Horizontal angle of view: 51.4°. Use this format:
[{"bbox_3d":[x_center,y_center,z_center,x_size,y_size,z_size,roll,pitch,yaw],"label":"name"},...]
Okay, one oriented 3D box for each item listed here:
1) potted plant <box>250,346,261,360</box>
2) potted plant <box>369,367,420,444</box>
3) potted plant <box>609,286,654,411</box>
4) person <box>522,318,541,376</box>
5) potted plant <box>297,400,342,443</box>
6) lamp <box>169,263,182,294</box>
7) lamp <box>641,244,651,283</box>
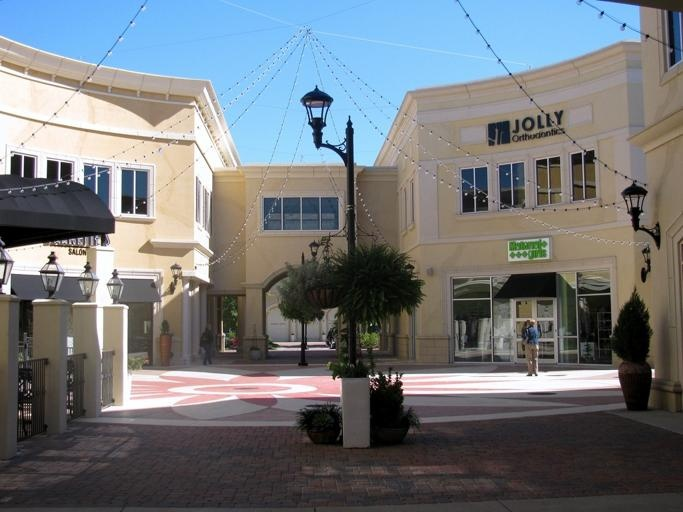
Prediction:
[{"bbox_3d":[-4.104,4.643,33.825,0.306,0.629,0.646,-6,-9,43],"label":"potted plant"},{"bbox_3d":[0.918,2.943,13.856,1.253,1.781,1.143,-2,-15,5],"label":"potted plant"},{"bbox_3d":[6.780,2.164,16.524,0.844,2.500,0.859,5,-10,-17],"label":"potted plant"},{"bbox_3d":[6.577,3.215,24.719,0.495,1.924,0.848,-2,-6,14],"label":"person"},{"bbox_3d":[-0.451,3.202,13.707,0.743,0.592,0.783,1,-3,-6],"label":"potted plant"},{"bbox_3d":[-7.010,0.981,29.820,0.488,1.262,0.681,1,-6,-14],"label":"lamp"},{"bbox_3d":[10.916,0.286,25.580,0.305,1.325,0.989,-2,-7,18],"label":"lamp"}]
